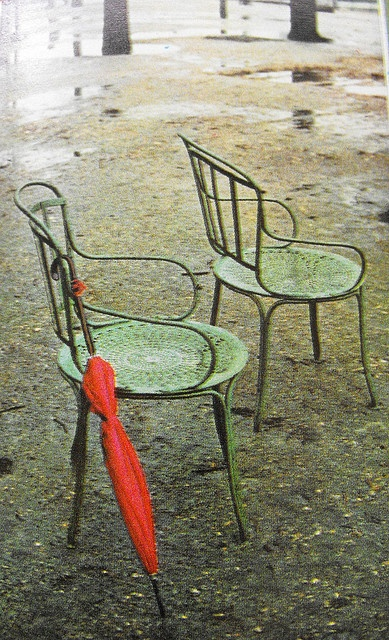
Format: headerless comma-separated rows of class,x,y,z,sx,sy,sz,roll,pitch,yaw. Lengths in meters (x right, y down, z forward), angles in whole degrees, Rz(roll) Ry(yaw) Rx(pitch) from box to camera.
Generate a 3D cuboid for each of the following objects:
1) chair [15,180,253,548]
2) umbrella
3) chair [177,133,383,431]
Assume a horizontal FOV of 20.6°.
chair,-0.146,0.103,2.812,0.628,0.829,0.503,-3,22,-13
umbrella,-0.229,0.346,2.835,0.131,1.028,0.134,-29,-22,20
chair,0.311,-0.126,3.905,0.780,1.136,0.733,-12,35,-14
